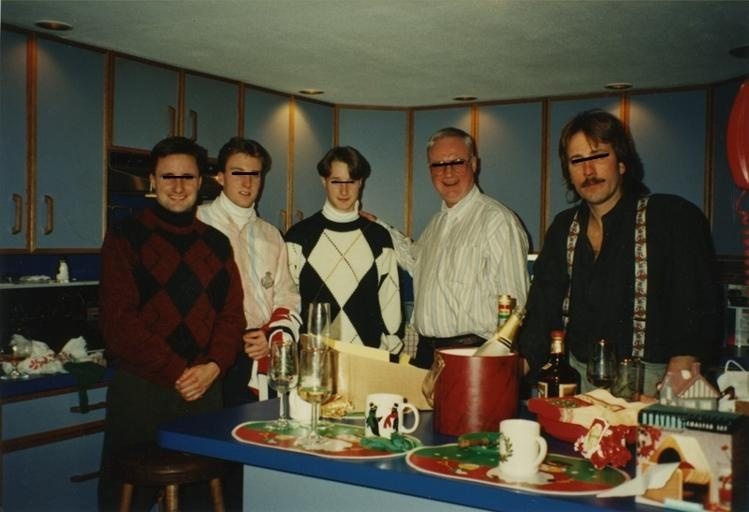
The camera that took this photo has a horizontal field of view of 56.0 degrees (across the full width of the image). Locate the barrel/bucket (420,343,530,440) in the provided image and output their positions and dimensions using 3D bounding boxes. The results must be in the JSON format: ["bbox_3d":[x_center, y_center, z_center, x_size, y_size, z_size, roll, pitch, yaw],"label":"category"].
[{"bbox_3d":[0.311,0.436,2.252,0.305,0.217,0.231,0,-1,-23],"label":"barrel/bucket"}]

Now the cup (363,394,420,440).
[{"bbox_3d":[0.063,0.523,2.278,0.183,0.128,0.112,4,-6,7],"label":"cup"}]

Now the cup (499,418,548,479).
[{"bbox_3d":[0.429,0.565,2.060,0.130,0.163,0.117,0,-5,8],"label":"cup"}]

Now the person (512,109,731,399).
[{"bbox_3d":[0.989,-0.024,2.895,0.798,1.184,0.318,0,-5,10],"label":"person"}]

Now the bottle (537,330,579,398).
[{"bbox_3d":[0.624,0.367,2.400,0.131,0.223,0.198,-1,-5,17],"label":"bottle"}]

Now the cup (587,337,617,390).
[{"bbox_3d":[0.786,0.378,2.442,0.095,0.162,0.056,-1,-5,15],"label":"cup"}]
